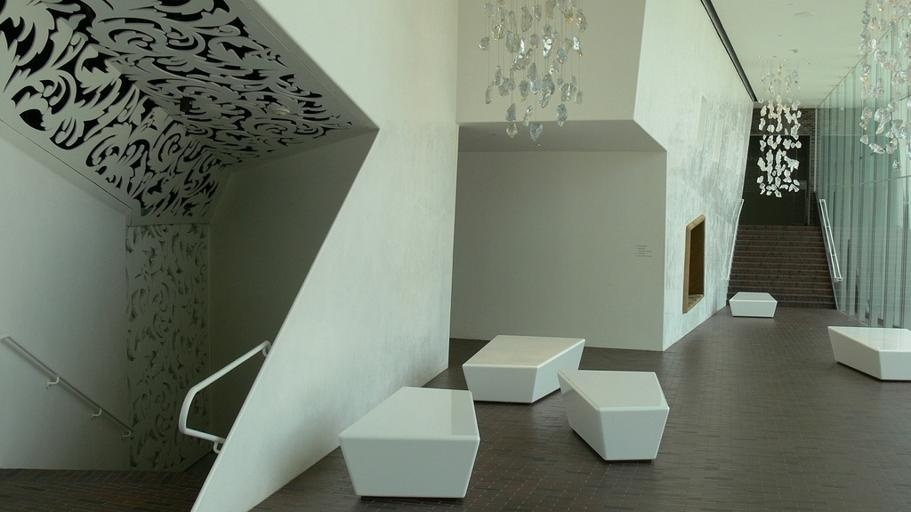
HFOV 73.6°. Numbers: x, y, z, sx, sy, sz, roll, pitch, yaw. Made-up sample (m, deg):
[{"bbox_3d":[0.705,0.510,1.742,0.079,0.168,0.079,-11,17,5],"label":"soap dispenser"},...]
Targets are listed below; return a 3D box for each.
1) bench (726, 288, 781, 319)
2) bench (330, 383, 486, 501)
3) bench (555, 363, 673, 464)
[{"bbox_3d":[7.806,1.272,15.907,1.008,0.518,1.095,7,14,31],"label":"bench"},{"bbox_3d":[-0.489,2.148,7.065,1.465,0.742,1.095,0,12,1],"label":"bench"},{"bbox_3d":[1.887,1.908,7.521,0.935,0.574,1.083,-5,4,-39],"label":"bench"}]
